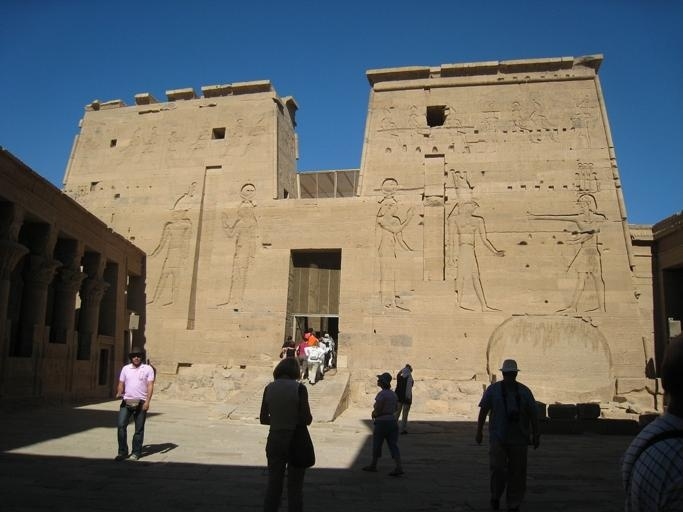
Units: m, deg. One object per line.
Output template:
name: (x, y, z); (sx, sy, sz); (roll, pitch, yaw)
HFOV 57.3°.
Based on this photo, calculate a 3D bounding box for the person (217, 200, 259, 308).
person: (-3.377, -0.045, 21.196); (1.064, 3.726, 0.313); (-7, -21, 23)

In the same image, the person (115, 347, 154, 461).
person: (-3.295, 2.378, 9.919); (0.505, 1.688, 0.851); (7, -19, -16)

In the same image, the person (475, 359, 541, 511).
person: (2.147, 2.332, 8.115); (0.762, 1.901, 0.485); (-3, -20, 12)
